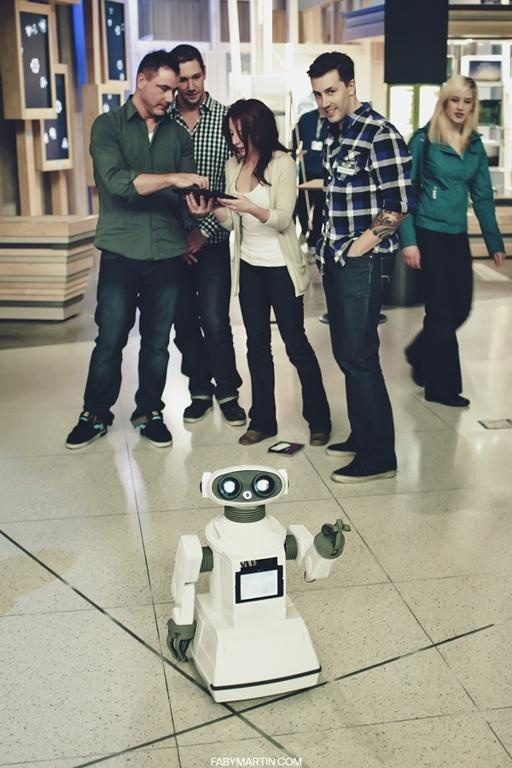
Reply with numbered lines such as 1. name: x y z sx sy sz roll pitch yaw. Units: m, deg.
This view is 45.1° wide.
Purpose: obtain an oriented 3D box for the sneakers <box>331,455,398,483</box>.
1. sneakers: 0.460 0.387 2.742 0.313 0.125 0.113 -2 2 -6

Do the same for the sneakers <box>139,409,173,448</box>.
1. sneakers: -0.522 0.228 3.179 0.090 0.106 0.267 -7 22 -23

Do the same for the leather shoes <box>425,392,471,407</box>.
1. leather shoes: 1.145 0.084 3.684 0.239 0.102 0.090 1 7 19

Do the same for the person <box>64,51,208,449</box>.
1. person: -0.601 -0.605 3.012 0.654 1.845 0.516 -2 11 -14

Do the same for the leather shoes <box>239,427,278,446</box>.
1. leather shoes: -0.009 0.274 3.161 0.067 0.053 0.191 -3 -1 32

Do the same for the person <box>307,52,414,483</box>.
1. person: 0.412 -0.416 2.529 0.400 1.708 0.356 3 11 13

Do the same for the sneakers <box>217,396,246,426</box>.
1. sneakers: -0.142 0.148 3.452 0.083 0.095 0.239 -7 24 -21

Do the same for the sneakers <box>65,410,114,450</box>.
1. sneakers: -0.856 0.234 3.171 0.100 0.115 0.298 10 18 18

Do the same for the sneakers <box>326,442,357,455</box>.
1. sneakers: 0.411 0.317 2.980 0.157 0.063 0.057 5 9 0
